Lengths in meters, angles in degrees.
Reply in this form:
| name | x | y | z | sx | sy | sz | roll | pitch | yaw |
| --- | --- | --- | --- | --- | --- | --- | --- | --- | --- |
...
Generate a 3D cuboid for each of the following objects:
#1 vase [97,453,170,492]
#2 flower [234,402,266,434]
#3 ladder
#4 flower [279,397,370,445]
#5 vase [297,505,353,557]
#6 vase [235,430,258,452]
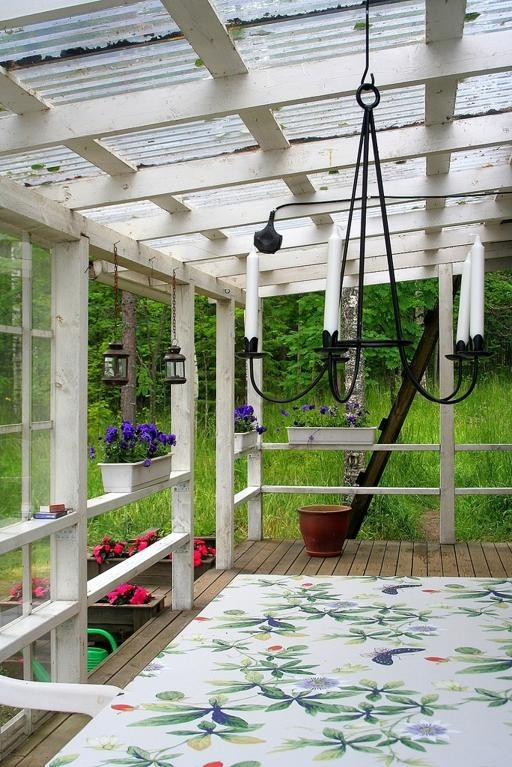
| name | x | y | z | sx | sy | sz | roll | pitch | yaw |
| --- | --- | --- | --- | --- | --- | --- | --- | --- | --- |
| vase | -0.551 | 0.438 | 3.400 | 0.196 | 0.182 | 0.570 | -8 | -9 | 16 |
| flower | -0.052 | 0.289 | 5.609 | 0.259 | 0.178 | 0.227 | 2 | 4 | 6 |
| ladder | 1.264 | 0.333 | 6.058 | 0.160 | 2.973 | 0.168 | 27 | -1 | 35 |
| flower | 0.579 | 0.340 | 5.904 | 0.735 | 0.294 | 0.456 | 1 | -3 | -4 |
| vase | 0.519 | 1.137 | 5.450 | 0.376 | 0.275 | 0.377 | -2 | -5 | 36 |
| vase | -0.079 | 0.445 | 5.485 | 0.211 | 0.084 | 0.379 | -1 | 3 | 8 |
